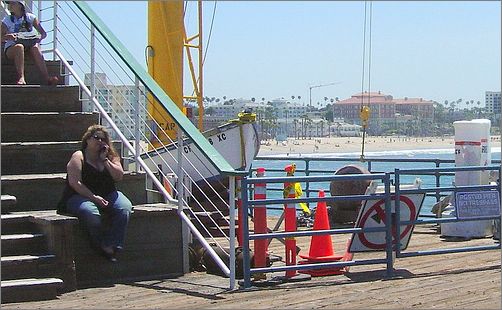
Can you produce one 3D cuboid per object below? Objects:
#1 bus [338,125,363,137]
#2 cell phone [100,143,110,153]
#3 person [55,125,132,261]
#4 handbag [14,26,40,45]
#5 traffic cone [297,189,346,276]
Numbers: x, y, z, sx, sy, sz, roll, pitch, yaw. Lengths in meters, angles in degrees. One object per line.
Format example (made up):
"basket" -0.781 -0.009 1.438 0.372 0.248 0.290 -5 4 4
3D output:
"bus" 31.011 -7.912 287.400 5.463 3.273 10.029 -2 6 -20
"cell phone" -2.036 -0.110 12.501 0.081 0.102 0.092 -3 -27 1
"person" -2.152 0.518 12.394 0.964 1.832 0.553 -1 6 -12
"handbag" -3.632 -1.872 14.533 0.378 0.232 0.180 -2 6 -15
"traffic cone" 1.012 1.105 13.087 0.642 1.161 1.076 0 5 3
